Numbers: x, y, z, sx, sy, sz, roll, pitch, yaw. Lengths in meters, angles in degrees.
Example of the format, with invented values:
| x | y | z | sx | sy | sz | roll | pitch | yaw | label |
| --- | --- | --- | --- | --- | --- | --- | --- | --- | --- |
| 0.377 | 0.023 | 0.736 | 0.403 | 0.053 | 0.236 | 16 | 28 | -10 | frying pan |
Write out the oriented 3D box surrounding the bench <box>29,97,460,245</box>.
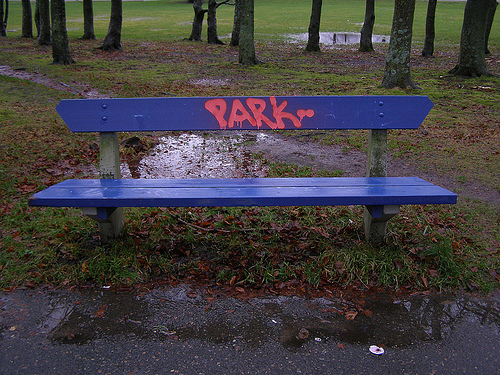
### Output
| x | y | z | sx | sy | sz | roll | pitch | yaw | label |
| --- | --- | --- | --- | --- | --- | --- | --- | --- | --- |
| -0.054 | -0.202 | 5.153 | 4.582 | 1.601 | 1.385 | -1 | 23 | -5 | bench |
